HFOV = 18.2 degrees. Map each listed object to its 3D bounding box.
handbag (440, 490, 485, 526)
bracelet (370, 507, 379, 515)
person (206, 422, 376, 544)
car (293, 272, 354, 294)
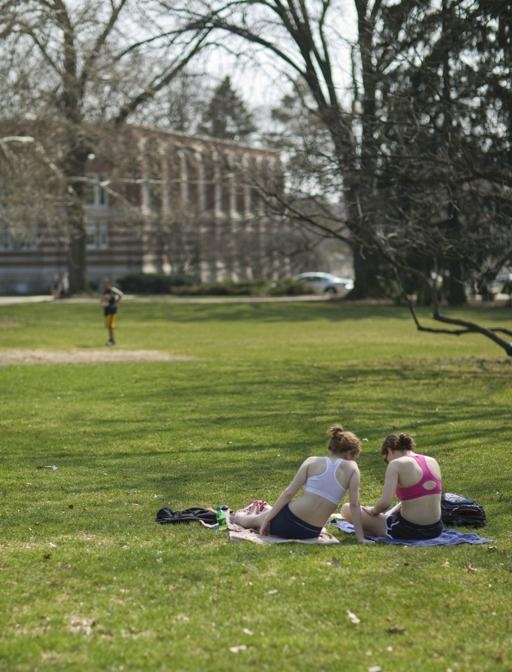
[{"bbox_3d":[2.769,2.279,21.078,0.437,0.208,0.371,2,1,-20],"label":"handbag"},{"bbox_3d":[1.573,2.264,20.765,0.074,0.114,0.038,0,24,6],"label":"bracelet"},{"bbox_3d":[0.417,2.040,21.009,2.355,1.633,0.760,-10,-28,43],"label":"person"},{"bbox_3d":[2.941,-2.023,66.465,2.003,0.714,1.310,2,13,-6],"label":"car"}]
